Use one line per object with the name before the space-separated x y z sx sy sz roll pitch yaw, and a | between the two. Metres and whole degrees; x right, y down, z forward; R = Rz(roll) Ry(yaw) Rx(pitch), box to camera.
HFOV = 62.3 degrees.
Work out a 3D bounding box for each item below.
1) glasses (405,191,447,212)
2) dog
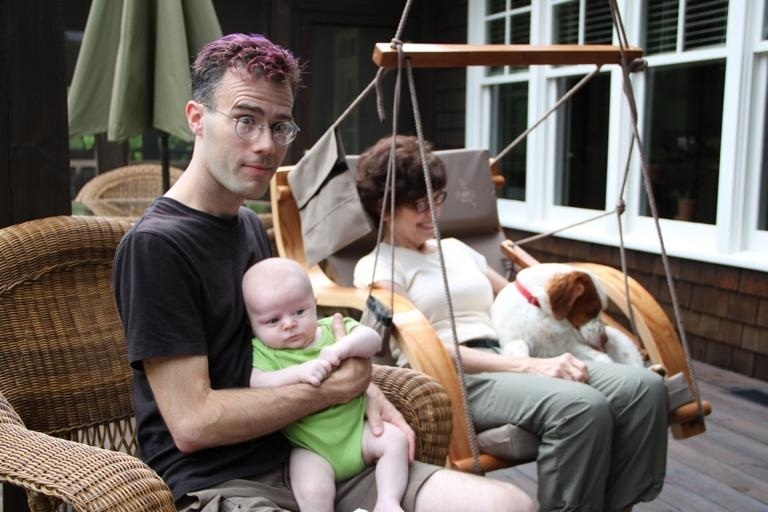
glasses | 0.164 -0.229 2.622 0.152 0.051 0.151 -9 8 46
dog | 0.758 0.245 2.626 0.610 0.416 0.420 12 19 6
